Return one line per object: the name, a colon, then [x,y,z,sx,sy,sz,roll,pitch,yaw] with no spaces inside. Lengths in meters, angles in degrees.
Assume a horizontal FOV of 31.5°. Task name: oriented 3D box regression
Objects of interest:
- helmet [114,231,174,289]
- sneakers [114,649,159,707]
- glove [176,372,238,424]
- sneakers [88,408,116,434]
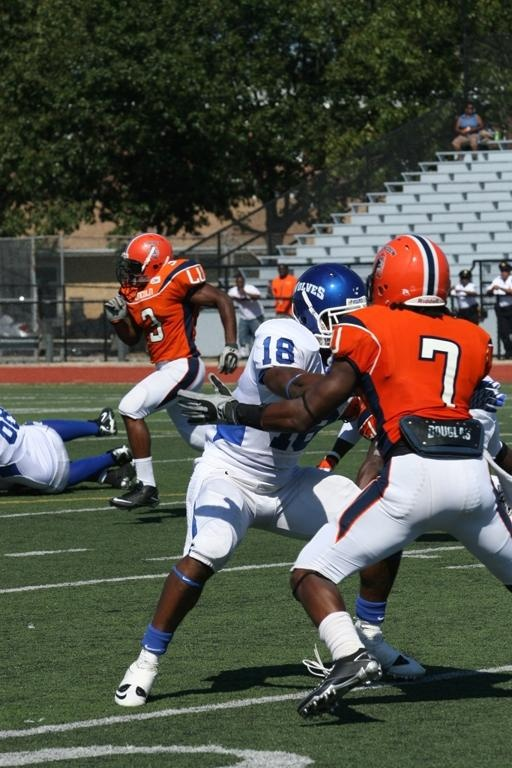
helmet: [-0.783,-0.894,6.505,0.460,0.346,0.332,-3,8,4]
sneakers: [-0.367,0.878,2.747,0.124,0.177,0.119,0,1,-12]
glove: [-0.142,0.067,2.745,0.192,0.113,0.055,11,-14,19]
sneakers: [-1.261,0.348,7.600,0.170,0.292,0.105,6,-25,-9]
